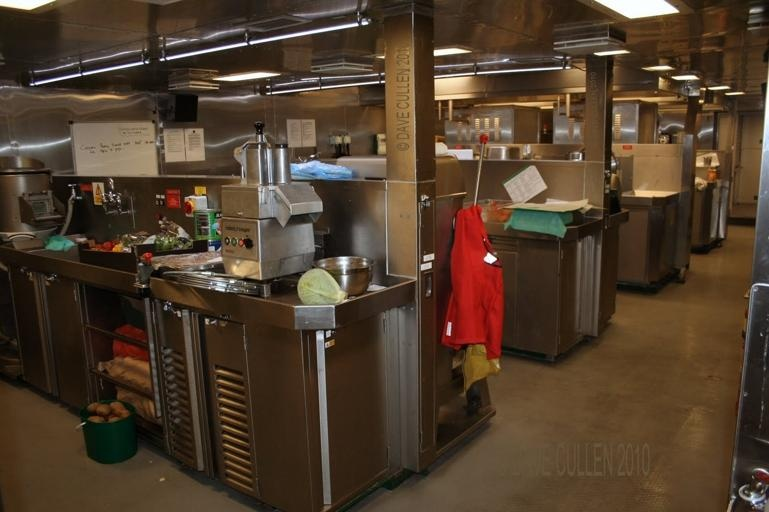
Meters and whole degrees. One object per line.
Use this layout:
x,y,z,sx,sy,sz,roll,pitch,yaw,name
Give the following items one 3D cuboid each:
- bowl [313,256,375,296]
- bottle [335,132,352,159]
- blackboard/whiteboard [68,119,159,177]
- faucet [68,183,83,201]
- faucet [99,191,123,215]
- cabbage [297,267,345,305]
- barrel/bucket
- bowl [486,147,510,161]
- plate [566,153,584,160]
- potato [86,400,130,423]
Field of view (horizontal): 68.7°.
-0.285,0.129,3.913,0.408,0.193,0.403,1,12,0,bowl
-0.694,-1.900,9.571,0.131,0.373,0.377,3,15,24,bottle
-3.397,-1.357,6.996,0.040,0.641,0.950,15,22,37,blackboard/whiteboard
-3.387,-0.702,6.217,0.119,0.183,0.166,-11,16,-30,faucet
-2.797,-0.534,5.837,0.206,0.264,0.090,2,1,6,faucet
-0.395,0.205,3.660,0.274,0.178,0.204,15,5,-6,cabbage
-2.164,1.390,4.512,0.427,0.374,0.389,6,10,-1,barrel/bucket
1.545,-1.376,7.786,0.282,0.183,0.372,-9,12,-43,bowl
2.402,-1.246,7.023,0.173,0.077,0.221,11,22,33,plate
-2.157,1.179,4.421,0.199,0.073,0.195,3,4,15,potato
